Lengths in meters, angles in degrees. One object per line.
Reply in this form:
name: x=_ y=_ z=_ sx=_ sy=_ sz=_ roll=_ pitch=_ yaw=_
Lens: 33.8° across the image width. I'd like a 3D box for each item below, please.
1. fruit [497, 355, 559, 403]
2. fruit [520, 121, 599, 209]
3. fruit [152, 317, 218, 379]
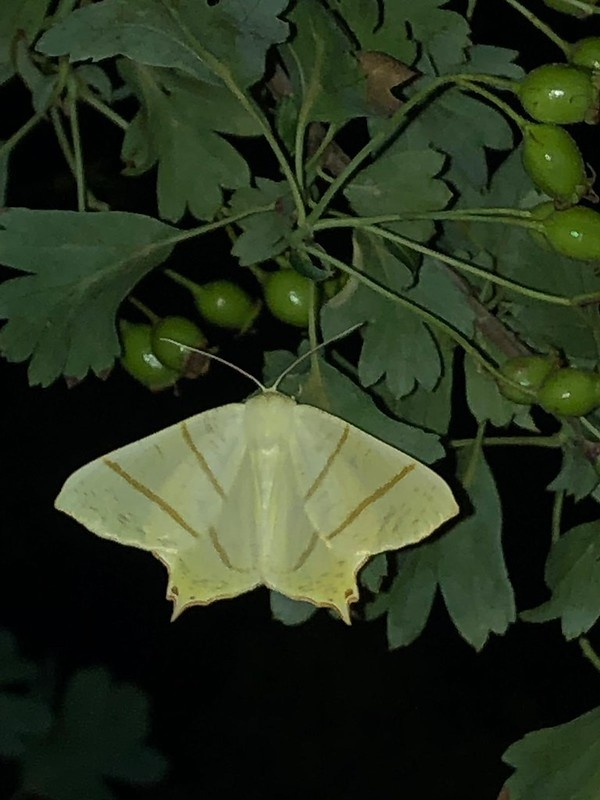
fruit: x=0.629 y=-0.057 z=2.785 sx=0.162 sy=0.092 sz=0.118 roll=-38 pitch=71 yaw=-3
fruit: x=0.713 y=-0.640 z=2.696 sx=0.169 sy=0.238 sz=0.077 roll=-33 pitch=-1 yaw=25
fruit: x=-0.388 y=-0.184 z=3.302 sx=0.161 sy=0.214 sz=0.145 roll=-38 pitch=30 yaw=35
